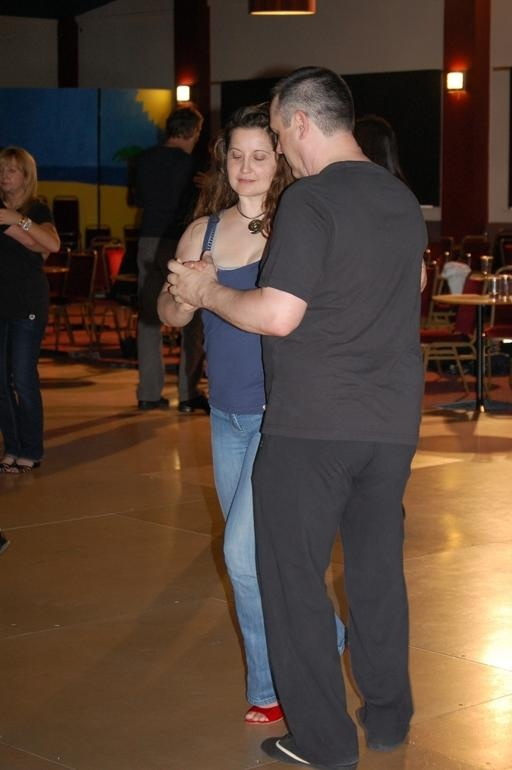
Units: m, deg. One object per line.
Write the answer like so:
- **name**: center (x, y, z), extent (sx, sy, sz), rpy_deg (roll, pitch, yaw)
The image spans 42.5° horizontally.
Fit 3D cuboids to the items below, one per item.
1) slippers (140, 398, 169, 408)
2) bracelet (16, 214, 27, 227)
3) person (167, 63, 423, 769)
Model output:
- **slippers**: center (-0.905, 0.158, 5.933), extent (0.262, 0.104, 0.094), rpy_deg (-6, 12, -39)
- **bracelet**: center (-1.287, -0.911, 3.637), extent (0.041, 0.058, 0.056), rpy_deg (-12, 31, 3)
- **person**: center (0.150, 0.110, 1.226), extent (0.431, 1.343, 0.338), rpy_deg (-3, 5, -30)
